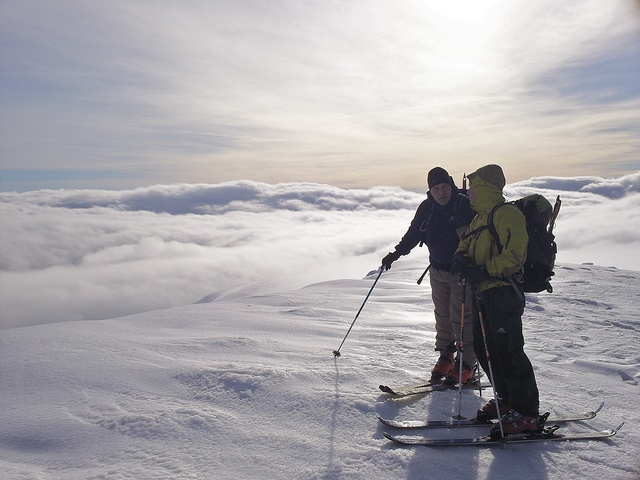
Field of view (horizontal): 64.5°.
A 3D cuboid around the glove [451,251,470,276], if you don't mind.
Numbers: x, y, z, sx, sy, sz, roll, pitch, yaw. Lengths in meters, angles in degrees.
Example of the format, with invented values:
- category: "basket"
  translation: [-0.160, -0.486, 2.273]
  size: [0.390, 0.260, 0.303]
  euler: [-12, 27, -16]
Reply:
- category: "glove"
  translation: [1.803, 0.319, 6.557]
  size: [0.222, 0.244, 0.254]
  euler: [-3, 39, -8]
